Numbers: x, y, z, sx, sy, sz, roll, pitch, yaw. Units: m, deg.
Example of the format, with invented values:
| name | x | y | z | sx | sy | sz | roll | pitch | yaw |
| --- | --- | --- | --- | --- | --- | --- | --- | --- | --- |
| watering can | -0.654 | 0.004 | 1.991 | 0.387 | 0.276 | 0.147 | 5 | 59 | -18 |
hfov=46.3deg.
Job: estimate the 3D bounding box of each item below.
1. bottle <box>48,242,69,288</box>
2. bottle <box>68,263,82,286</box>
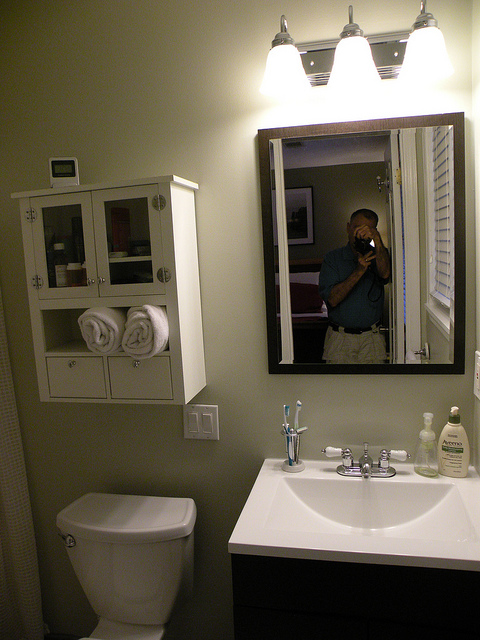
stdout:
| name | x | y | z | sx | sy | sz | roll | pitch | yaw |
| --- | --- | --- | --- | --- | --- | --- | --- | --- | --- |
| bottle | -0.535 | -0.160 | 1.628 | 0.069 | 0.126 | 0.011 | -3 | 6 | 16 |
| bottle | -0.480 | -0.131 | 1.619 | 0.051 | 0.064 | 0.010 | -2 | 7 | 25 |
